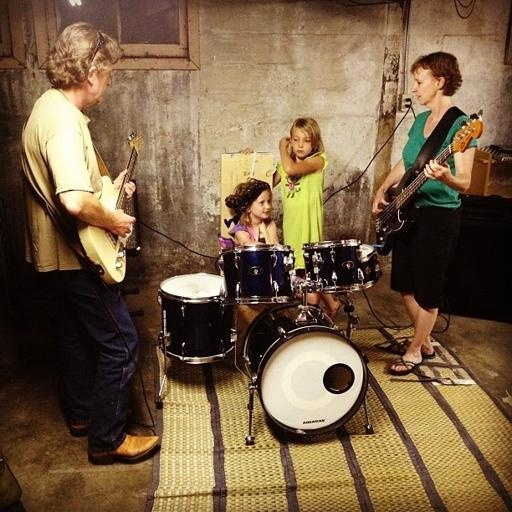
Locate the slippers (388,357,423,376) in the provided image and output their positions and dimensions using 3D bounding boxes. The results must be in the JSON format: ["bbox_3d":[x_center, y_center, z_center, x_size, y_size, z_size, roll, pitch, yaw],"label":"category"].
[{"bbox_3d":[0.908,0.664,3.237,0.190,0.047,0.083,-13,11,-23],"label":"slippers"}]

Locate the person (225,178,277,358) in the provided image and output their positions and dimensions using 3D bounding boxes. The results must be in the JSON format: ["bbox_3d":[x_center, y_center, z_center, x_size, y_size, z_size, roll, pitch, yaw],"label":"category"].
[{"bbox_3d":[-0.022,0.103,3.484,0.332,1.188,0.380,-8,23,-15],"label":"person"}]

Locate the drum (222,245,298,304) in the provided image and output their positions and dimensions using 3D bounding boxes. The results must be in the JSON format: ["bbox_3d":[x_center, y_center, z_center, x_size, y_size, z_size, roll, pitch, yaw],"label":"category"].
[{"bbox_3d":[0.000,0.116,2.757,0.381,0.296,0.394,-4,-9,-1],"label":"drum"}]

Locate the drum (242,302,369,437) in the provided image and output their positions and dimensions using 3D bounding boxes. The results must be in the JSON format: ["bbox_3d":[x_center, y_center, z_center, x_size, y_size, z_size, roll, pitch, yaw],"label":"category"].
[{"bbox_3d":[0.242,0.558,2.682,0.695,0.619,0.599,-1,17,-2],"label":"drum"}]

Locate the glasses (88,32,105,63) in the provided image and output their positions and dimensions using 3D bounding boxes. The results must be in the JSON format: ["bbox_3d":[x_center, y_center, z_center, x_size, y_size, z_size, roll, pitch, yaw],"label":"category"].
[{"bbox_3d":[-0.641,-0.836,2.166,0.030,0.108,0.112,23,41,-25],"label":"glasses"}]

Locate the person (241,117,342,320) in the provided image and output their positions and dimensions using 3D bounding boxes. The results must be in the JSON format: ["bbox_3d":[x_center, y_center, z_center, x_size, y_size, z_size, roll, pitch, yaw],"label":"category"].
[{"bbox_3d":[0.266,-0.305,3.593,0.406,1.179,0.382,15,32,30],"label":"person"}]

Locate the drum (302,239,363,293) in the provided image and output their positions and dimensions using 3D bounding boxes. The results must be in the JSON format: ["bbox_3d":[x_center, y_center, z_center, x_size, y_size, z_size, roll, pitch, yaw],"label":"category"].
[{"bbox_3d":[0.427,0.071,2.909,0.345,0.273,0.354,-5,-5,0],"label":"drum"}]

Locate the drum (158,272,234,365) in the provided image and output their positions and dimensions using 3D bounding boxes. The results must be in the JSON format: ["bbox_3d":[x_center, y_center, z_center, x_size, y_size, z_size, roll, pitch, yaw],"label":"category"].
[{"bbox_3d":[-0.372,0.320,2.936,0.454,0.425,0.453,-8,17,-26],"label":"drum"}]

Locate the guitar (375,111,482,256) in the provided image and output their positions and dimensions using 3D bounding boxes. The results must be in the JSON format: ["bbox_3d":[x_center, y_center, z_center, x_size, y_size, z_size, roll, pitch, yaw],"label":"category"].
[{"bbox_3d":[1.075,-0.417,3.215,0.159,1.154,0.384,7,56,-14],"label":"guitar"}]

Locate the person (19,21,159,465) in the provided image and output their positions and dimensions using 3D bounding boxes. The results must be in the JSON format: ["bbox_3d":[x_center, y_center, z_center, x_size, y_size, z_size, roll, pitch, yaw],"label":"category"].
[{"bbox_3d":[-0.749,0.004,2.348,0.464,1.936,0.488,-11,21,-32],"label":"person"}]
